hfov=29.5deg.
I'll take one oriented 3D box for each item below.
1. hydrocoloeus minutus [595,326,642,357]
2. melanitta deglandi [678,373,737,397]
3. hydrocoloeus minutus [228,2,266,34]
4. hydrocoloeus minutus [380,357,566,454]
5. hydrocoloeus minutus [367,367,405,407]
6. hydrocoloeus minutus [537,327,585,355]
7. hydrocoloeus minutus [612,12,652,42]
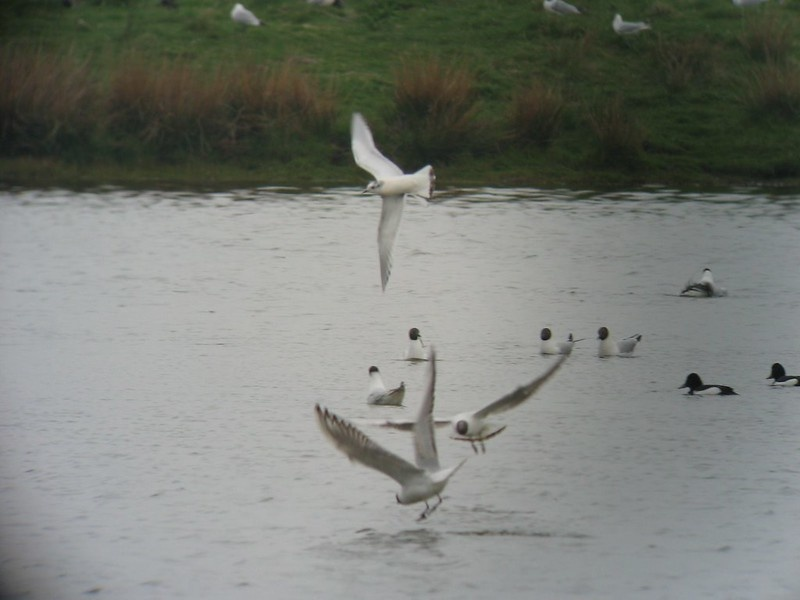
[{"bbox_3d":[2.979,0.543,20.987,0.577,0.525,0.419,-5,27,6],"label":"hydrocoloeus minutus"},{"bbox_3d":[3.965,1.106,19.765,0.727,0.336,0.359,-3,27,10],"label":"melanitta deglandi"},{"bbox_3d":[-3.651,-6.670,35.510,0.562,0.438,0.811,32,-1,-44],"label":"hydrocoloeus minutus"},{"bbox_3d":[0.684,1.381,16.861,1.661,0.580,0.605,3,22,45],"label":"hydrocoloeus minutus"},{"bbox_3d":[-0.089,1.192,19.346,0.260,0.484,0.700,7,-10,-41],"label":"hydrocoloeus minutus"},{"bbox_3d":[2.186,0.579,20.888,0.578,0.329,0.309,-10,1,-27],"label":"hydrocoloeus minutus"},{"bbox_3d":[5.451,-6.563,35.939,0.991,0.573,0.471,-9,-9,-9],"label":"hydrocoloeus minutus"}]
